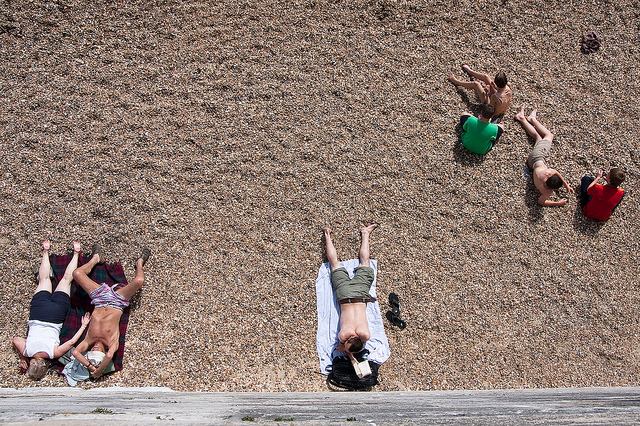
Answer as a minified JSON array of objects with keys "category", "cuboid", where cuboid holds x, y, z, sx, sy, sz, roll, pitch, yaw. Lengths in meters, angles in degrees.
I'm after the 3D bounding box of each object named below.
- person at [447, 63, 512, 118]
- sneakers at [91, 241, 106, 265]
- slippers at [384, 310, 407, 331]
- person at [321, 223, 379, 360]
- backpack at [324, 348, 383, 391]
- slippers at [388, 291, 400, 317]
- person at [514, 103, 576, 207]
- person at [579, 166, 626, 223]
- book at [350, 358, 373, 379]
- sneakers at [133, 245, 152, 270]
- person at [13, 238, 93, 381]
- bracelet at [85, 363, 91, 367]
[{"category":"person","cuboid":[2.714,-2.185,18.692,0.493,0.833,1.097,-34,71,-24]},{"category":"sneakers","cuboid":[-3.493,0.631,18.082,0.153,0.133,0.365,-14,94,-1]},{"category":"slippers","cuboid":[1.217,1.730,18.155,0.390,0.124,0.210,34,91,-3]},{"category":"person","cuboid":[0.503,1.224,18.324,0.885,0.501,1.814,-1,75,-2]},{"category":"backpack","cuboid":[0.514,2.461,18.263,1.088,0.801,0.360,-6,99,16]},{"category":"slippers","cuboid":[1.202,1.458,18.205,0.189,0.087,0.330,0,79,-3]},{"category":"person","cuboid":[3.631,-0.918,18.655,0.700,0.748,1.684,-16,93,1]},{"category":"person","cuboid":[4.598,-0.280,18.562,0.602,0.774,0.553,15,55,10]},{"category":"book","cuboid":[0.670,2.433,17.881,0.262,0.196,0.336,-19,65,-7]},{"category":"sneakers","cuboid":[-2.804,0.722,18.072,0.137,0.129,0.350,26,87,-6]},{"category":"person","cuboid":[-4.228,1.635,17.828,1.097,0.477,1.894,7,80,-10]},{"category":"bracelet","cuboid":[-3.570,2.375,17.631,0.066,0.051,0.066,-42,70,-17]}]
